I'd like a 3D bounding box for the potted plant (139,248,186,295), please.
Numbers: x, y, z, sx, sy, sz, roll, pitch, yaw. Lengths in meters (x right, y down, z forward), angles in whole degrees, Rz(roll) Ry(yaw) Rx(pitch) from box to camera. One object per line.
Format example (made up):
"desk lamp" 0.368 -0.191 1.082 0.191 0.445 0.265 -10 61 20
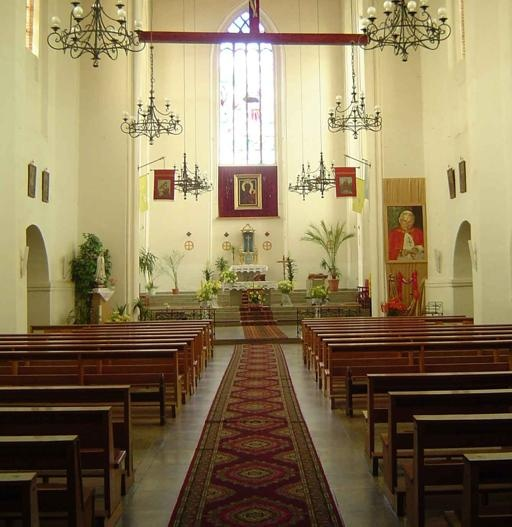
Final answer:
"potted plant" -3.586 0.193 23.143 1.299 1.676 1.365 2 -3 -2

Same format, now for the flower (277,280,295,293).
"flower" 0.965 0.740 19.453 0.377 0.503 0.425 0 -2 17

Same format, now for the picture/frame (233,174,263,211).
"picture/frame" -0.355 -2.948 24.694 1.151 1.846 0.161 0 -2 -5

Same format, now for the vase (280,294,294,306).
"vase" 1.049 1.208 19.679 0.320 0.470 0.399 1 -9 -4

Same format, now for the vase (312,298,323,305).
"vase" 1.903 1.132 18.153 0.190 0.272 0.221 -1 3 0

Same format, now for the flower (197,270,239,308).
"flower" -1.352 0.933 18.810 1.025 0.973 1.182 -3 6 17

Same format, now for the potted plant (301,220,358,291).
"potted plant" 3.012 -0.348 24.334 1.999 2.998 2.282 -1 -6 3

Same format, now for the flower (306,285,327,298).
"flower" 1.931 0.860 18.762 0.410 0.397 0.476 -2 4 3
